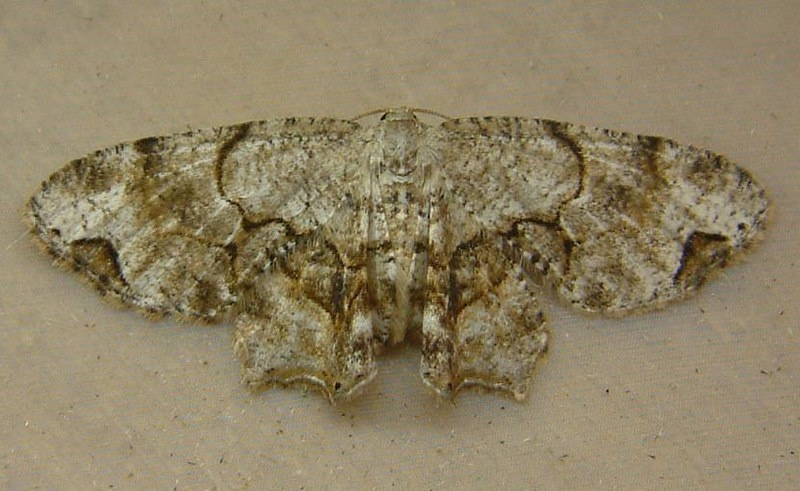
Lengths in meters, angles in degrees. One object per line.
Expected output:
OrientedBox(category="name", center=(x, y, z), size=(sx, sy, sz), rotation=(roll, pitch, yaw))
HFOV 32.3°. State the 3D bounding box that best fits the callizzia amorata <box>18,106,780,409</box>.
OrientedBox(category="callizzia amorata", center=(0.036, -0.129, 10.660), size=(5.250, 0.585, 2.469), rotation=(1, 86, 1))
